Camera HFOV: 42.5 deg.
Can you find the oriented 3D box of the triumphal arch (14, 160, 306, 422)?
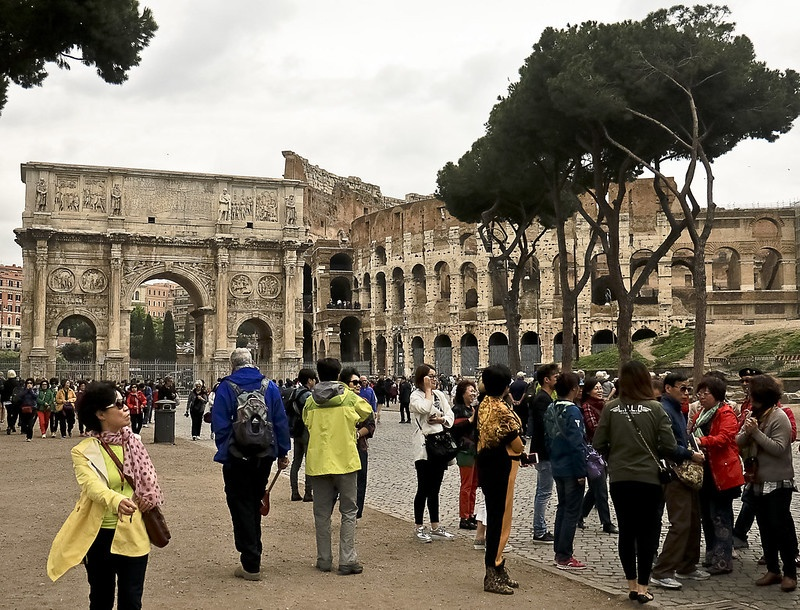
[{"bbox_3d":[-9.653,-0.959,41.530,15.307,9.990,3.865,1,-5,-28],"label":"triumphal arch"}]

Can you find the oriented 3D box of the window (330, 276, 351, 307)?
[{"bbox_3d":[-4.267,-0.867,82.528,2.013,2.456,2.186,2,-10,-14],"label":"window"}]

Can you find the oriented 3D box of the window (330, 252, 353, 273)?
[{"bbox_3d":[-4.767,-3.348,82.262,1.899,1.154,1.339,0,-6,-5],"label":"window"}]

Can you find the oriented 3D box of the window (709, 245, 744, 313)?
[{"bbox_3d":[20.517,-1.578,64.529,2.837,4.546,3.659,1,-7,7],"label":"window"}]

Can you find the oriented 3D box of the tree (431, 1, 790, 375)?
[{"bbox_3d":[6.225,-4.742,29.837,9.729,10.162,9.166,-5,-16,4],"label":"tree"}]

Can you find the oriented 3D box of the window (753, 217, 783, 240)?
[{"bbox_3d":[23.273,-4.785,64.907,0.487,1.250,1.448,-3,1,-4],"label":"window"}]
